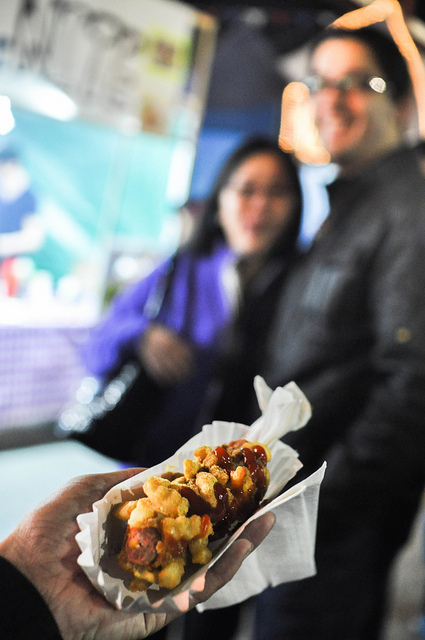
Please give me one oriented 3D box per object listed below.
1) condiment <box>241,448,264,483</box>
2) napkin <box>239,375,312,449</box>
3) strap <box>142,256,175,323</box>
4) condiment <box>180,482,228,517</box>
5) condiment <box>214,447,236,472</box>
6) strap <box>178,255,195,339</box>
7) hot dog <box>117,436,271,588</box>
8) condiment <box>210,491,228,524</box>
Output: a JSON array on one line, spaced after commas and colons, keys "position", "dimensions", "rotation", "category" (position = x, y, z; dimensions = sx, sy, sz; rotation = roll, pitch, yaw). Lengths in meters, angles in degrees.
[{"position": [0.073, 0.260, 1.065], "dimensions": [0.013, 0.034, 0.052], "rotation": [-32, 66, 34], "category": "condiment"}, {"position": [0.127, 0.189, 1.239], "dimensions": [0.129, 0.053, 0.132], "rotation": [38, 115, 31], "category": "napkin"}, {"position": [-0.133, -0.074, 1.532], "dimensions": [0.049, 0.057, 0.194], "rotation": [22, 93, 20], "category": "strap"}, {"position": [-0.005, 0.291, 0.966], "dimensions": [0.060, 0.049, 0.018], "rotation": [21, 117, 41], "category": "condiment"}, {"position": [0.022, 0.243, 1.044], "dimensions": [0.009, 0.025, 0.038], "rotation": [-50, 58, 35], "category": "condiment"}, {"position": [-0.059, -0.051, 1.545], "dimensions": [0.029, 0.027, 0.224], "rotation": [3, 85, 15], "category": "strap"}, {"position": [-0.035, 0.319, 1.069], "dimensions": [0.193, 0.409, 0.142], "rotation": [3, 99, 22], "category": "hot dog"}, {"position": [0.016, 0.309, 0.980], "dimensions": [0.014, 0.032, 0.039], "rotation": [18, 88, 4], "category": "condiment"}]
